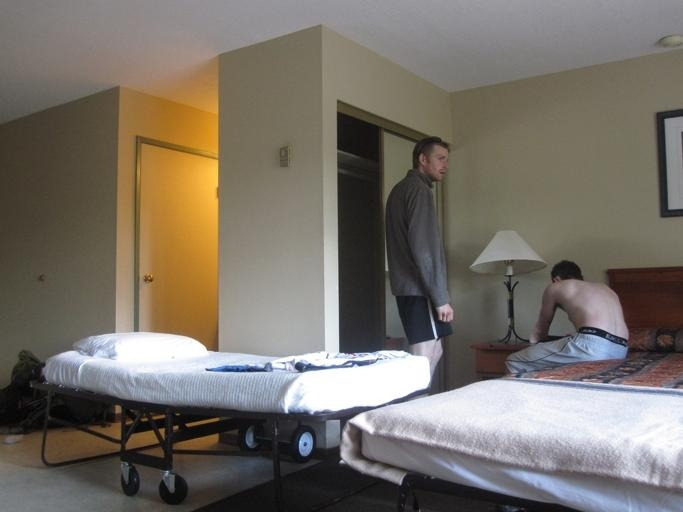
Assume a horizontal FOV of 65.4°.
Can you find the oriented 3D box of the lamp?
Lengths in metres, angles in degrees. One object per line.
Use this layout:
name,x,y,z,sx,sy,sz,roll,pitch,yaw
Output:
lamp,1.363,0.246,4.311,0.573,0.876,0.604,-4,-1,35
